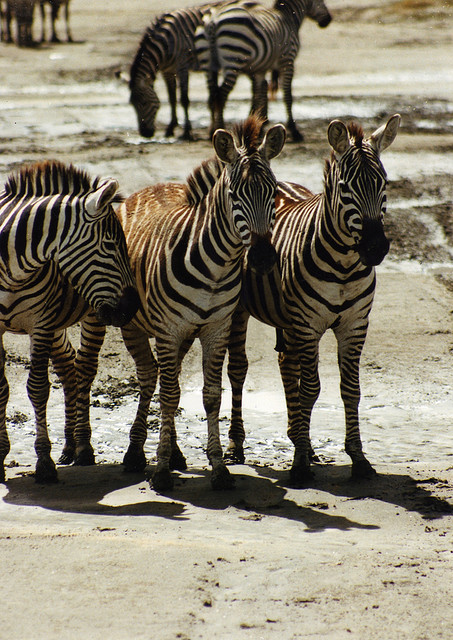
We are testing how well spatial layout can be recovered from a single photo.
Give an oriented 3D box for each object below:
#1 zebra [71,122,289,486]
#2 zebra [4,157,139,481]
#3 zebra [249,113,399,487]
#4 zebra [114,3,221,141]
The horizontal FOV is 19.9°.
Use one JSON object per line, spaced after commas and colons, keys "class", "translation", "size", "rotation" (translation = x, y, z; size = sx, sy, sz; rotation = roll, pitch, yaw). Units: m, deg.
{"class": "zebra", "translation": [-0.278, -0.052, 7.805], "size": [0.639, 1.982, 2.334], "rotation": [-2, 2, -28]}
{"class": "zebra", "translation": [-0.954, 0.029, 7.457], "size": [0.797, 1.833, 0.610], "rotation": [10, 14, 41]}
{"class": "zebra", "translation": [0.573, -0.110, 8.028], "size": [0.631, 2.077, 2.424], "rotation": [-3, 2, -11]}
{"class": "zebra", "translation": [-0.630, -2.884, 15.163], "size": [0.821, 1.556, 2.462], "rotation": [1, 11, 2]}
